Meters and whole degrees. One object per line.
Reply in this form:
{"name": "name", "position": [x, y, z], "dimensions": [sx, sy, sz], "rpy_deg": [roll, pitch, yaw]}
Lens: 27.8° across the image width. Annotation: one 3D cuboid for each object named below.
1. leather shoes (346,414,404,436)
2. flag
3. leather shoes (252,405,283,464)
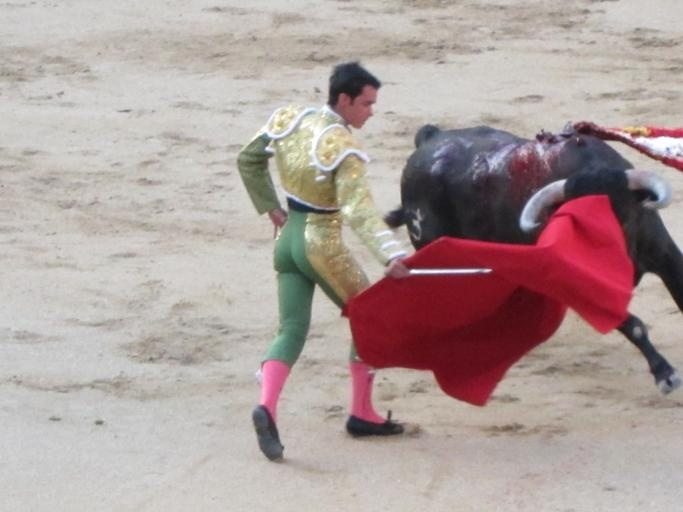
{"name": "leather shoes", "position": [0.209, 1.074, 8.751], "dimensions": [0.417, 0.128, 0.124], "rpy_deg": [-3, 2, -8]}
{"name": "flag", "position": [0.949, 0.500, 8.395], "dimensions": [1.785, 0.700, 0.946], "rpy_deg": [14, 27, 17]}
{"name": "leather shoes", "position": [-0.437, 1.071, 8.314], "dimensions": [0.175, 0.352, 0.138], "rpy_deg": [-2, 24, -3]}
